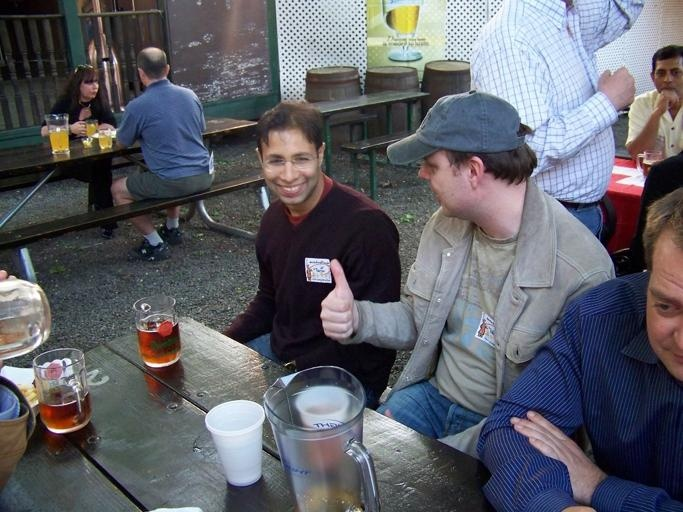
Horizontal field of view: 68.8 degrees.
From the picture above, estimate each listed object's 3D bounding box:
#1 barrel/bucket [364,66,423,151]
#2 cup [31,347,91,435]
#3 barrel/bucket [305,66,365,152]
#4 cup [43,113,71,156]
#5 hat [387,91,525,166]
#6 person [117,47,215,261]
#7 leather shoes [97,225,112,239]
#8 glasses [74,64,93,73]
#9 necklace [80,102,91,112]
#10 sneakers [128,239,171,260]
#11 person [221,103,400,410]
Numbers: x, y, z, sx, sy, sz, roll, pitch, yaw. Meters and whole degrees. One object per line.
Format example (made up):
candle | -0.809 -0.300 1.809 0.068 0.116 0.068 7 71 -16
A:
barrel/bucket | 0.793 -2.437 8.096 1.054 1.578 1.129 -2 22 1
cup | -0.843 0.431 1.528 0.136 0.235 0.231 -9 19 -41
barrel/bucket | -0.116 -2.456 8.347 0.906 1.309 0.866 -3 30 2
cup | -2.680 -1.165 4.741 0.198 0.347 0.376 -13 24 -26
hat | 0.423 -0.493 1.897 0.524 0.266 0.352 2 21 10
person | -1.805 -1.273 4.943 0.971 1.446 0.660 -11 23 -22
leather shoes | -2.673 -0.286 5.644 0.141 0.137 0.136 5 26 -11
glasses | -2.893 -2.102 5.597 0.202 0.076 0.162 15 27 37
necklace | -2.962 -1.730 5.776 0.068 0.091 0.090 1 -14 -7
sneakers | -1.963 -0.068 5.135 0.438 0.222 0.193 2 3 -2
person | -0.231 0.020 2.484 0.874 1.469 0.807 14 24 37
